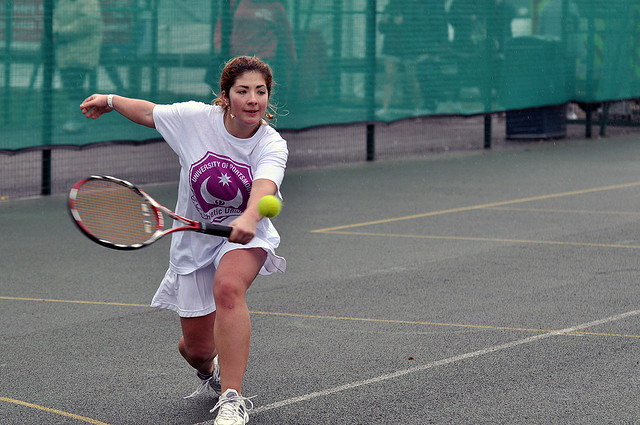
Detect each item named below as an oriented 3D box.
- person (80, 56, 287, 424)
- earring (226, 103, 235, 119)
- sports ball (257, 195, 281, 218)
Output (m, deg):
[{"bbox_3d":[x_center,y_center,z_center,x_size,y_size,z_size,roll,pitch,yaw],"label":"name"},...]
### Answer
[{"bbox_3d":[-0.836,0.218,6.464,1.148,2.863,1.425,-5,14,-19],"label":"person"},{"bbox_3d":[-0.689,-0.788,6.323,0.017,0.079,0.077,-39,48,1],"label":"earring"},{"bbox_3d":[-0.378,-0.047,6.057,0.167,0.149,0.156,1,8,0],"label":"sports ball"}]
